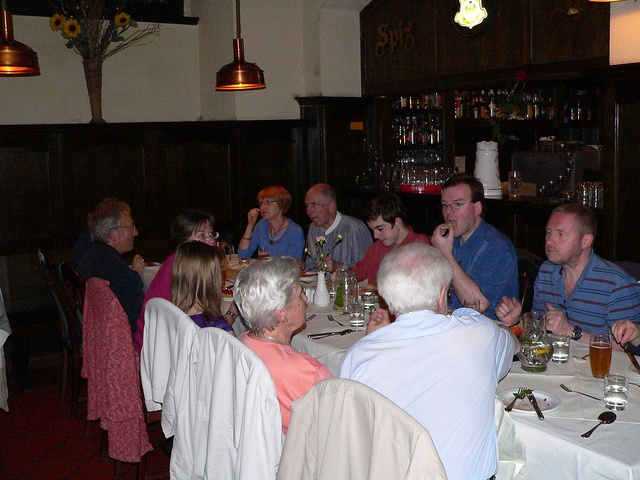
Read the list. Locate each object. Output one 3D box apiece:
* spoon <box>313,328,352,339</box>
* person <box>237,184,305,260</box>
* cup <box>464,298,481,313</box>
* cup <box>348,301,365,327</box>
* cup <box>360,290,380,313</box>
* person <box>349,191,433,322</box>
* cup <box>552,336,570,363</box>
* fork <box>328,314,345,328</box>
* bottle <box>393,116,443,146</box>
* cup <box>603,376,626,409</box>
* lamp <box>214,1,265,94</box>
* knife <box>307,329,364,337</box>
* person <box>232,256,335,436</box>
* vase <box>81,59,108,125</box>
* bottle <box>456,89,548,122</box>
[{"bbox_3d":[0.046,0.506,2.878,0.255,0.015,0.073,-4,14,5],"label":"spoon"},{"bbox_3d":[-0.389,-0.038,4.664,0.586,0.918,0.445,10,12,33],"label":"person"},{"bbox_3d":[0.767,0.325,2.700,0.073,0.087,0.078,0,-3,0],"label":"cup"},{"bbox_3d":[0.203,0.420,3.007,0.110,0.130,0.088,-6,-7,39],"label":"cup"},{"bbox_3d":[0.284,0.362,3.246,0.072,0.145,0.133,0,-10,-6],"label":"cup"},{"bbox_3d":[0.549,0.062,3.881,0.589,1.146,0.719,-2,4,-24],"label":"person"},{"bbox_3d":[1.086,0.494,2.432,0.089,0.119,0.101,0,-2,-6],"label":"cup"},{"bbox_3d":[0.088,0.462,3.102,0.030,0.027,0.213,-14,17,-14],"label":"fork"},{"bbox_3d":[1.203,-1.374,6.701,0.586,0.376,0.263,1,12,10],"label":"bottle"},{"bbox_3d":[1.130,0.580,2.085,0.096,0.127,0.098,-3,3,0],"label":"cup"},{"bbox_3d":[-0.702,-1.678,4.472,0.368,0.844,1.388,-3,12,-10],"label":"lamp"},{"bbox_3d":[0.088,0.502,2.891,0.207,0.013,0.060,-6,10,-7],"label":"knife"},{"bbox_3d":[-0.174,0.514,2.300,0.441,0.936,0.296,13,26,38],"label":"person"},{"bbox_3d":[-2.239,-1.490,5.356,0.172,0.639,0.323,-6,12,-21],"label":"vase"},{"bbox_3d":[2.368,-1.730,6.874,0.860,0.368,0.217,1,2,24],"label":"bottle"}]
